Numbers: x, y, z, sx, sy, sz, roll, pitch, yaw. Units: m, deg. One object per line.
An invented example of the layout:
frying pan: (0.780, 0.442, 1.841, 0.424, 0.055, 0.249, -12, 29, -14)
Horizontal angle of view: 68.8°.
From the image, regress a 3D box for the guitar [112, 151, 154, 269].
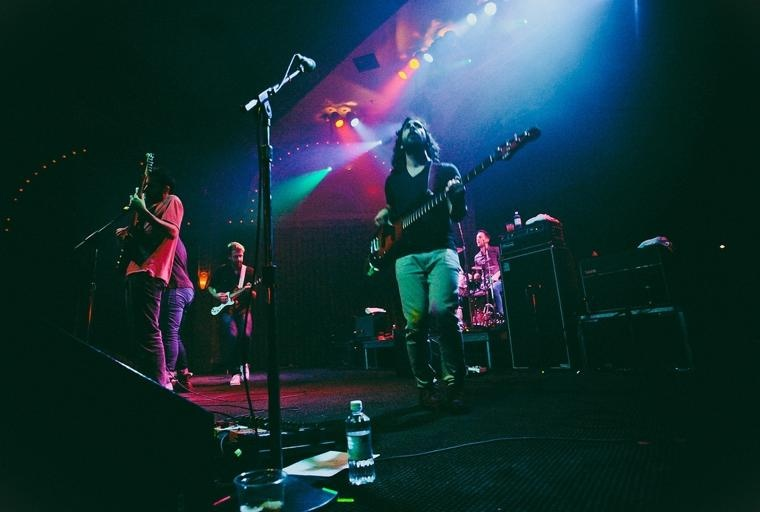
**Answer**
guitar: (-2.720, -0.494, 6.080, 0.144, 1.360, 0.527, 22, -9, -39)

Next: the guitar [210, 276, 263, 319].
guitar: (-2.308, 0.682, 8.651, 0.773, 0.319, 0.303, -16, -13, 35)

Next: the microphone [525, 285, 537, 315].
microphone: (1.865, 0.535, 6.829, 0.071, 0.313, 0.164, 13, -16, -36)

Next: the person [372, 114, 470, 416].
person: (0.485, 0.011, 5.337, 0.963, 2.824, 0.322, -15, -13, 34)

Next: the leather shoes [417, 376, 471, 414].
leather shoes: (0.559, 1.324, 5.191, 0.229, 0.275, 0.588, 8, -20, -30)
